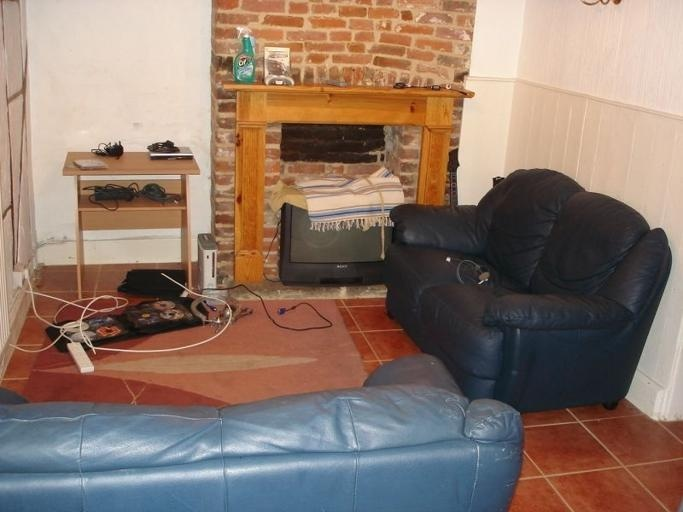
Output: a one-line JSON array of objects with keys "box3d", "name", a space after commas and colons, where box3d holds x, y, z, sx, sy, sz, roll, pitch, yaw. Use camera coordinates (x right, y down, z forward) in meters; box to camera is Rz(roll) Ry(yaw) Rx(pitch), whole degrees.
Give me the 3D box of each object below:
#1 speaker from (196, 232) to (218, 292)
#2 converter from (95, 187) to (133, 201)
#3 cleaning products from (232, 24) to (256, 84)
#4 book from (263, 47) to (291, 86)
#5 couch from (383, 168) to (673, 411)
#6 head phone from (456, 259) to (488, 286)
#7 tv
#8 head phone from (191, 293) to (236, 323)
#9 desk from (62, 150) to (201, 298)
[{"box3d": [-0.910, 0.041, 3.994, 0.119, 0.310, 0.337, -1, 24, -13], "name": "speaker"}, {"box3d": [-1.531, -0.427, 3.960, 0.184, 0.065, 0.125, -2, 22, -12], "name": "converter"}, {"box3d": [-0.638, -1.332, 3.857, 0.146, 0.369, 0.179, 0, 15, -8], "name": "cleaning products"}, {"box3d": [-0.423, -1.281, 3.917, 0.186, 0.259, 0.205, 0, 15, -6], "name": "book"}, {"box3d": [0.986, 0.131, 3.327, 1.060, 1.171, 1.244, -3, 15, -17], "name": "couch"}, {"box3d": [0.755, 0.090, 3.429, 0.158, 0.039, 0.153, -24, 48, -34], "name": "head phone"}, {"box3d": [-0.087, -0.052, 4.424, 1.002, 0.742, 0.542, -1, 19, -6], "name": "tv"}, {"box3d": [-0.831, 0.339, 3.787, 0.322, 0.091, 0.324, 2, 14, 0], "name": "head phone"}, {"box3d": [-1.488, -0.244, 4.096, 0.967, 0.934, 0.552, -5, 23, -19], "name": "desk"}]
